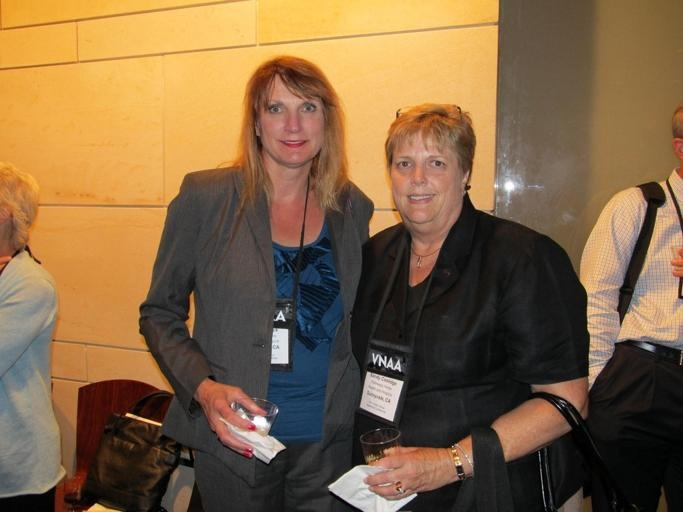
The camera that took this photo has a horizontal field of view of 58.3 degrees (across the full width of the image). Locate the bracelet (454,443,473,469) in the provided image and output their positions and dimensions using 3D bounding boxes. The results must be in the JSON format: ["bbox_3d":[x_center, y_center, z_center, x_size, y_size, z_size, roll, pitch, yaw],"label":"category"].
[{"bbox_3d":[0.485,0.808,2.441,0.026,0.084,0.064,5,-14,-14],"label":"bracelet"}]

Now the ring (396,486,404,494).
[{"bbox_3d":[0.222,0.908,2.368,0.024,0.034,0.011,-6,-6,3],"label":"ring"}]

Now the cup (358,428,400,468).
[{"bbox_3d":[0.154,0.780,2.484,0.131,0.108,0.150,-3,-8,-1],"label":"cup"}]

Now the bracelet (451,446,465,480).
[{"bbox_3d":[0.465,0.838,2.449,0.031,0.104,0.102,-16,32,7],"label":"bracelet"}]
